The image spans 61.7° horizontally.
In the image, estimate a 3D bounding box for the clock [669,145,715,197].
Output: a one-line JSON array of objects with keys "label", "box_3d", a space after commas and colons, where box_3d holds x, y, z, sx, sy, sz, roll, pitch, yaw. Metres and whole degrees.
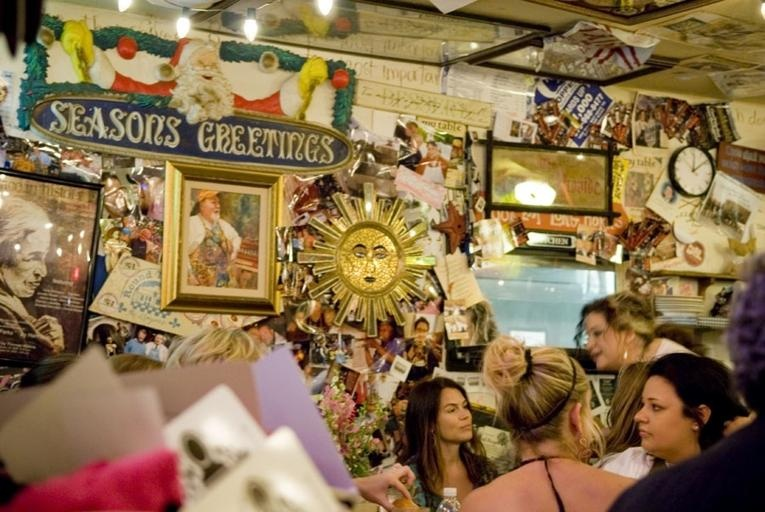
[{"label": "clock", "box_3d": [2.070, -0.564, 4.350, 0.364, 0.335, 0.081, 5, -5, -22]}]
